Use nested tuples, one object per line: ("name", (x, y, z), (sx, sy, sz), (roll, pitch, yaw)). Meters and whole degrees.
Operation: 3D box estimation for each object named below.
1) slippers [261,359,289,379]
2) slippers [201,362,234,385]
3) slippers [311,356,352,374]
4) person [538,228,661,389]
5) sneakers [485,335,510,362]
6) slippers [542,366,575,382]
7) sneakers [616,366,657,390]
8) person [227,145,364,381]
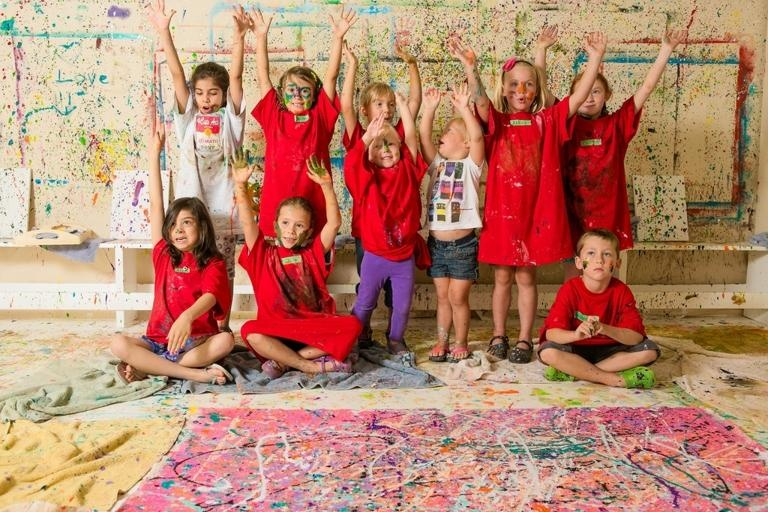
("slippers", (-0.577, 0.601, 3.244), (0.111, 0.050, 0.080), (24, -7, -41))
("slippers", (-0.844, 0.619, 3.177), (0.190, 0.072, 0.067), (3, 3, 17))
("slippers", (-0.281, 0.571, 3.243), (0.163, 0.088, 0.061), (0, -13, 3))
("person", (1.081, 0.245, 3.555), (0.855, 0.965, 0.799), (-2, 5, 6))
("sneakers", (0.674, 0.551, 3.595), (0.149, 0.128, 0.384), (0, -1, 6))
("slippers", (0.929, 0.631, 3.250), (0.090, 0.042, 0.104), (4, -1, 2))
("sneakers", (1.320, 0.627, 3.191), (0.168, 0.094, 0.059), (-9, 10, 13))
("person", (-0.468, 0.035, 3.315), (0.751, 1.114, 0.649), (2, 14, -5))
